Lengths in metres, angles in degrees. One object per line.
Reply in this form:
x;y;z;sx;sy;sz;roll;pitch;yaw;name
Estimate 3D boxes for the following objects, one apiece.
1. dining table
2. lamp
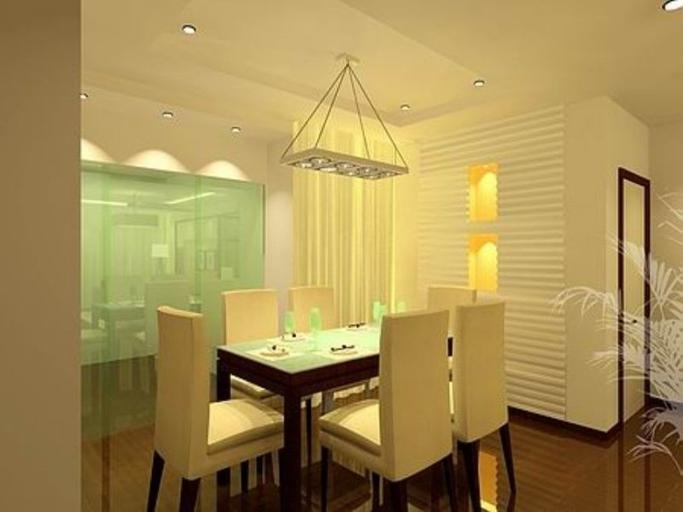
-0.145;1.265;3.617;0.920;1.256;1.710;-2;-3;41;dining table
0.060;-1.096;4.113;1.048;0.981;0.487;2;-3;-38;lamp
